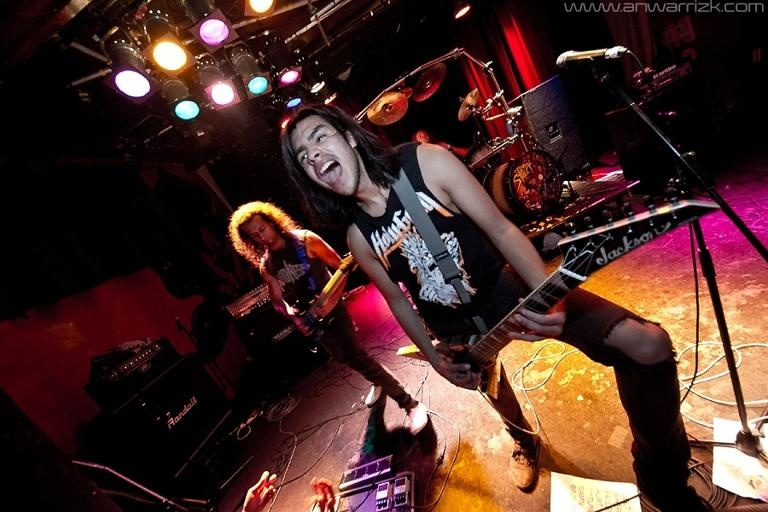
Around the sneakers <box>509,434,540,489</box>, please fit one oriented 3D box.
[{"bbox_3d":[1.439,2.067,4.418,0.208,0.254,0.629,-17,40,36],"label":"sneakers"}]

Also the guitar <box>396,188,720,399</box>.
[{"bbox_3d":[1.738,0.442,4.295,2.545,0.997,0.377,-37,-5,33],"label":"guitar"}]
